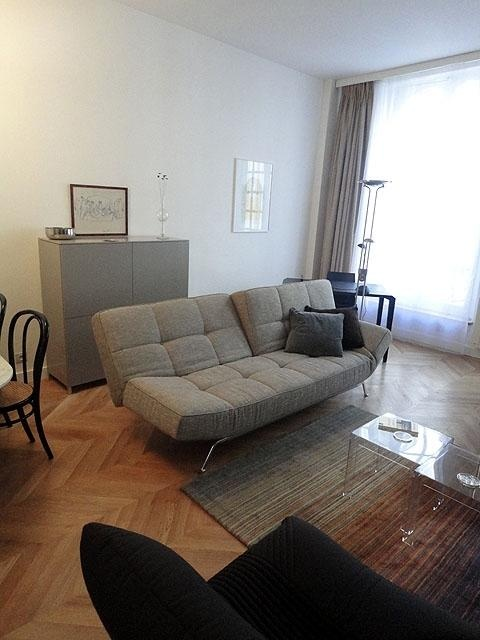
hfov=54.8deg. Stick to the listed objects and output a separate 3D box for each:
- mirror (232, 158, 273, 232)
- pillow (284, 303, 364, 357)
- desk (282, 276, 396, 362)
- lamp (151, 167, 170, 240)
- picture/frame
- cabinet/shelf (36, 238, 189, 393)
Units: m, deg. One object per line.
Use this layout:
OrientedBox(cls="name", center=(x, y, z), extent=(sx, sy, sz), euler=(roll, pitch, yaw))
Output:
OrientedBox(cls="mirror", center=(0.116, -1.337, 4.863), extent=(0.070, 0.839, 0.737), euler=(17, 20, 38))
OrientedBox(cls="pillow", center=(0.616, 0.098, 3.338), extent=(0.420, 0.128, 0.436), euler=(2, 26, 8))
OrientedBox(cls="desk", center=(1.078, -0.198, 4.754), extent=(1.011, 0.730, 0.962), euler=(8, 19, 31))
OrientedBox(cls="lamp", center=(-0.675, -1.006, 4.012), extent=(0.125, 0.558, 0.324), euler=(1, 14, -9))
OrientedBox(cls="picture/frame", center=(-1.123, -0.873, 3.694), extent=(0.518, 0.384, 0.016), euler=(6, 7, 18))
OrientedBox(cls="cabinet/shelf", center=(-0.902, -0.011, 3.095), extent=(1.019, 0.993, 0.360), euler=(-10, 20, -38))
